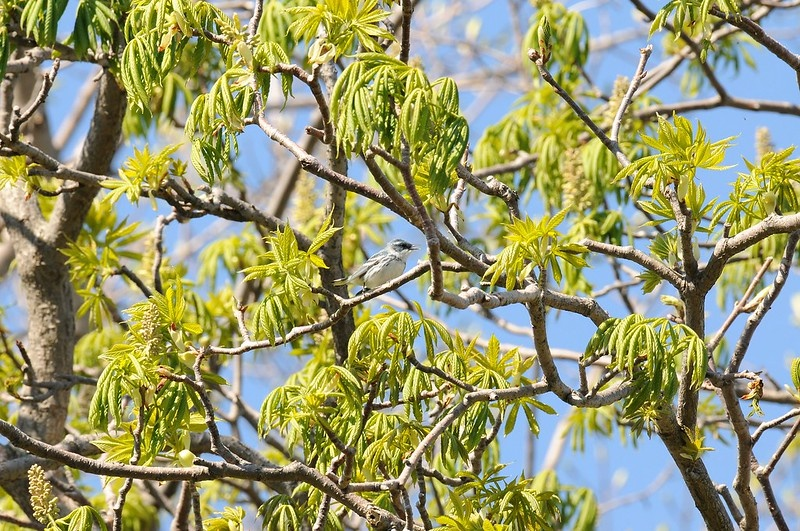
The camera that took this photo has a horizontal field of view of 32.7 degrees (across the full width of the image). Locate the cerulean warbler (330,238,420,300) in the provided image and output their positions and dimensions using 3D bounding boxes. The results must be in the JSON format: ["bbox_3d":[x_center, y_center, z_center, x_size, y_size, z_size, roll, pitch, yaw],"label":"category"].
[{"bbox_3d":[-0.202,0.031,10.745,0.748,0.440,0.261,-6,-20,27],"label":"cerulean warbler"}]
